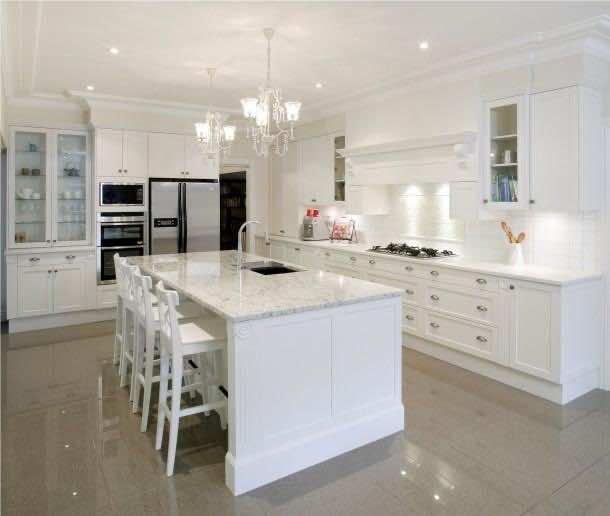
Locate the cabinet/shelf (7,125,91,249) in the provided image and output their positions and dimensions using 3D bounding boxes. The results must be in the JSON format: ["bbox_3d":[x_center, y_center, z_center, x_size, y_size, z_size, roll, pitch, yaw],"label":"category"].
[{"bbox_3d":[-3.329,-0.919,5.843,1.017,1.545,0.352,-5,11,-28],"label":"cabinet/shelf"}]

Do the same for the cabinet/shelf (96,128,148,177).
[{"bbox_3d":[-2.517,-1.441,6.031,0.629,0.642,0.314,-1,4,-35],"label":"cabinet/shelf"}]

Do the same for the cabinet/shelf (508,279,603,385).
[{"bbox_3d":[2.244,0.609,3.873,0.788,0.819,0.428,-1,10,-9],"label":"cabinet/shelf"}]

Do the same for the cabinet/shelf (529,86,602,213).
[{"bbox_3d":[2.279,-0.940,3.877,0.627,1.038,0.357,5,11,26],"label":"cabinet/shelf"}]

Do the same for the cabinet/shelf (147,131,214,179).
[{"bbox_3d":[-1.800,-1.463,6.257,0.764,0.522,0.275,-4,12,-31],"label":"cabinet/shelf"}]

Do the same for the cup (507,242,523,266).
[{"bbox_3d":[2.036,-0.038,4.402,0.173,0.256,0.192,-6,6,-32],"label":"cup"}]

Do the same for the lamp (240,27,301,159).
[{"bbox_3d":[-0.352,-1.642,4.411,0.500,1.191,0.538,-9,34,-19],"label":"lamp"}]

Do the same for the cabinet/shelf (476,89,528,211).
[{"bbox_3d":[1.960,-0.979,4.301,0.515,1.084,0.398,8,12,38],"label":"cabinet/shelf"}]

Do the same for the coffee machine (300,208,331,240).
[{"bbox_3d":[0.176,-0.509,6.865,0.474,0.613,0.399,0,1,-37],"label":"coffee machine"}]

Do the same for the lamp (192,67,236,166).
[{"bbox_3d":[-1.019,-1.604,4.936,0.489,1.025,0.450,-2,8,-15],"label":"lamp"}]

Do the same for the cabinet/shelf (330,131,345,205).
[{"bbox_3d":[0.490,-1.275,6.350,0.158,0.915,0.312,0,9,3],"label":"cabinet/shelf"}]

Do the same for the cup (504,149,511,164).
[{"bbox_3d":[1.939,-0.959,4.244,0.062,0.128,0.217,3,11,20],"label":"cup"}]

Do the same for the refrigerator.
[{"bbox_3d":[-1.777,-0.603,6.399,1.037,1.716,0.714,-1,3,-33],"label":"refrigerator"}]

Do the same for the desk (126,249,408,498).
[{"bbox_3d":[-0.105,0.699,3.390,1.122,1.025,2.066,1,2,-32],"label":"desk"}]

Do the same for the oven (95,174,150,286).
[{"bbox_3d":[-2.576,-0.314,6.340,0.664,1.514,0.677,-1,-2,-8],"label":"oven"}]

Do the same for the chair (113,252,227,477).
[{"bbox_3d":[-1.024,0.860,3.400,0.445,1.062,1.226,-2,6,-28],"label":"chair"}]
